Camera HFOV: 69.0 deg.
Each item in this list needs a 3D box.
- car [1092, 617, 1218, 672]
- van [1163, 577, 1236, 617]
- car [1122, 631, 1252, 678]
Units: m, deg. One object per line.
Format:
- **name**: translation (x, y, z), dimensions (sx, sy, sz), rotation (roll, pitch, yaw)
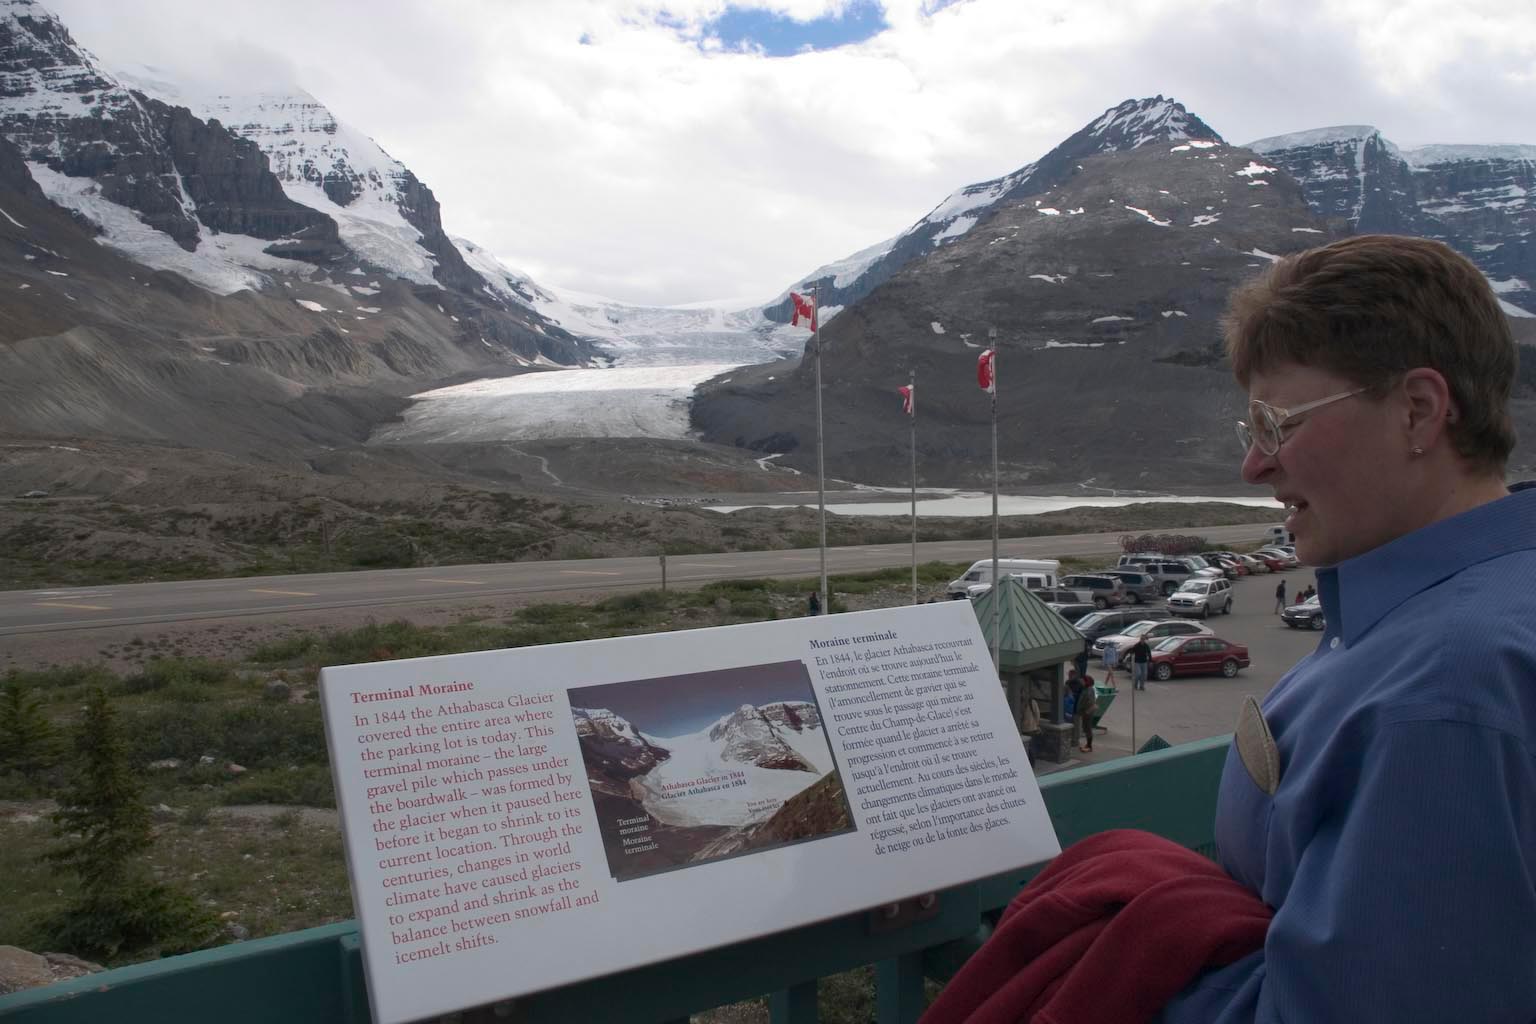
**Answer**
- **car**: translation (8.687, 3.068, 25.945), dimensions (2.885, 0.739, 1.186), rotation (-3, -1, -26)
- **van**: translation (13.115, 2.625, 33.915), dimensions (1.193, 0.700, 2.295), rotation (-5, -4, 37)
- **car**: translation (9.572, 3.225, 25.265), dimensions (2.925, 0.732, 1.108), rotation (2, -4, -8)
